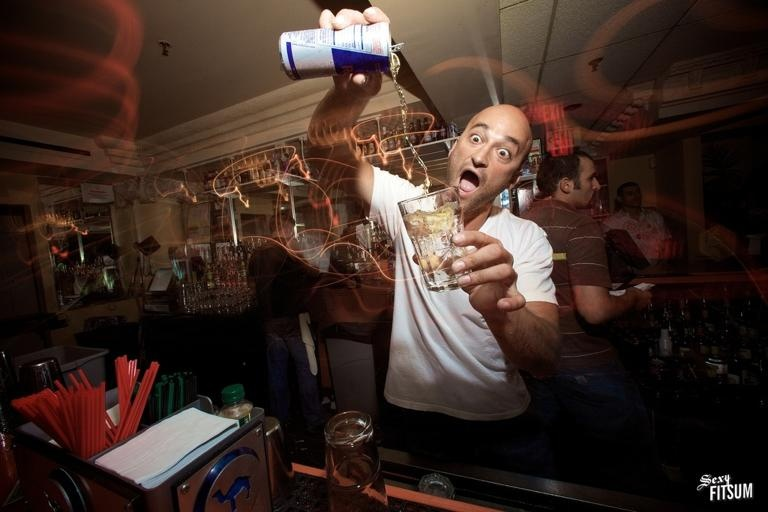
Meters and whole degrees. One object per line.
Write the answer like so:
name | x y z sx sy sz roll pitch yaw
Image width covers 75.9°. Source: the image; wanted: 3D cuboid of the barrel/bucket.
barrel/bucket | -2.791 0.993 4.339 0.715 0.363 0.317 -6 1 13

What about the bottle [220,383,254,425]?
bottle | -1.113 1.135 3.790 0.258 0.241 0.255 -5 -10 -6
